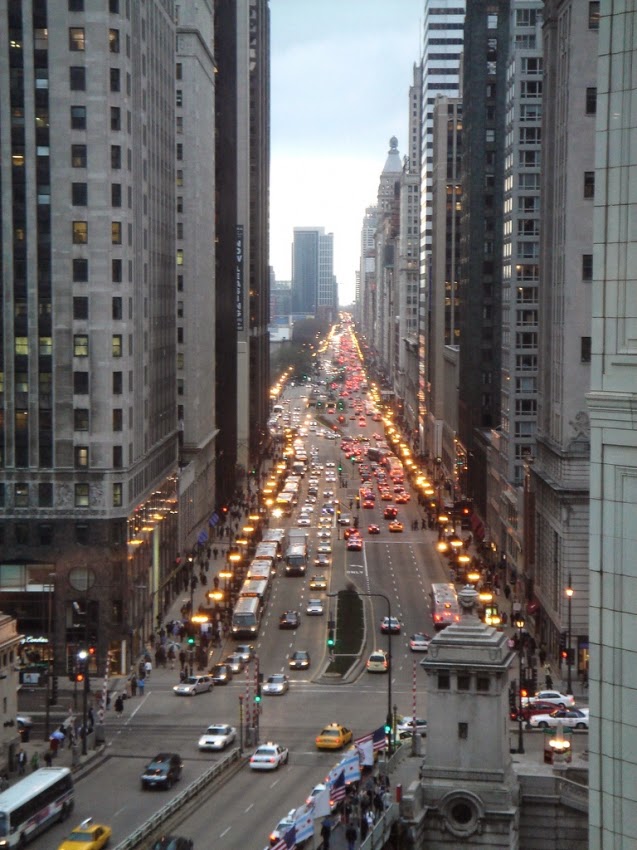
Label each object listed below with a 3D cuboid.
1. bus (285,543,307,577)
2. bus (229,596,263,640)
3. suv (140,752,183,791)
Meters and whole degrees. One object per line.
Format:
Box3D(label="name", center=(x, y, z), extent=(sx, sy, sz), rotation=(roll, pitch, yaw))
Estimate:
Box3D(label="bus", center=(-2.090, 12.185, 116.250), extent=(1.243, 2.014, 4.648), rotation=(0, 3, 1))
Box3D(label="bus", center=(-5.254, 13.905, 92.728), extent=(1.236, 1.940, 4.924), rotation=(0, 6, 1))
Box3D(label="suv", center=(-7.049, 15.643, 57.701), extent=(1.201, 1.231, 2.414), rotation=(-4, 6, 17))
